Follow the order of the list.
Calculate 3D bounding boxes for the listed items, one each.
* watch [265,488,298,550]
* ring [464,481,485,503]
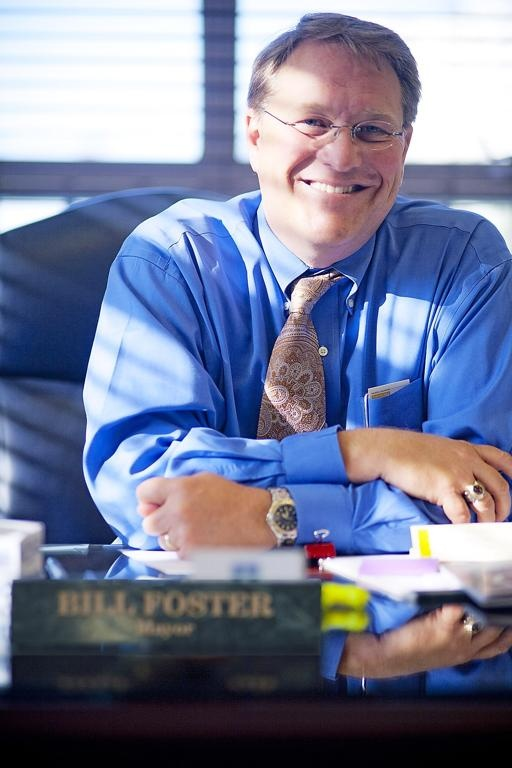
[{"bbox_3d":[0.028,0.150,0.985,0.015,0.047,0.049,-22,-23,31],"label":"watch"},{"bbox_3d":[0.258,0.129,1.041,0.023,0.022,0.008,-3,-4,-13],"label":"ring"}]
